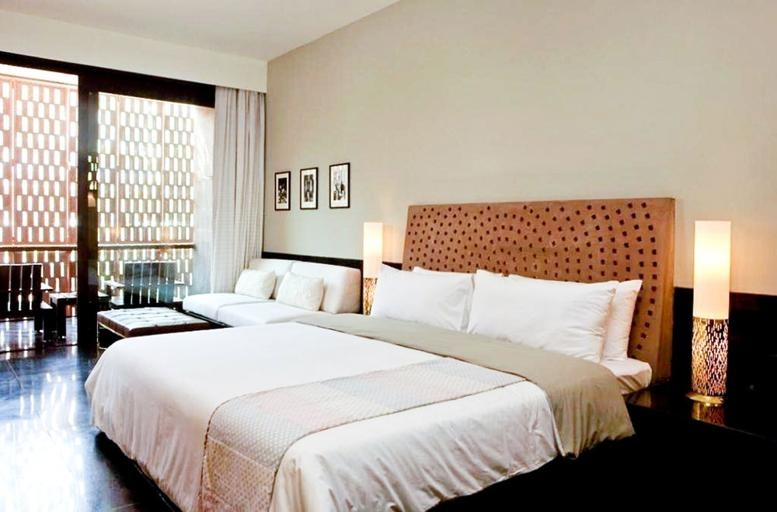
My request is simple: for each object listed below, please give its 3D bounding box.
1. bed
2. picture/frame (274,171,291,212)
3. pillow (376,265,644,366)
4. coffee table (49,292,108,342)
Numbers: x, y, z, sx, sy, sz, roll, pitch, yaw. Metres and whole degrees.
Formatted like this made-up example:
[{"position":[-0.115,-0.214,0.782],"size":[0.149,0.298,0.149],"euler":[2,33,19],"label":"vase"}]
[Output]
[{"position":[0.015,0.657,3.648],"size":[2.281,1.025,2.265],"euler":[-1,2,-38],"label":"bed"},{"position":[-1.399,-0.860,6.818],"size":[0.019,0.479,0.350],"euler":[-2,6,-39],"label":"picture/frame"},{"position":[0.833,0.423,3.942],"size":[1.929,0.591,0.395],"euler":[1,1,31],"label":"pillow"},{"position":[-3.797,0.677,6.255],"size":[0.638,0.494,0.613],"euler":[-1,3,-36],"label":"coffee table"}]
